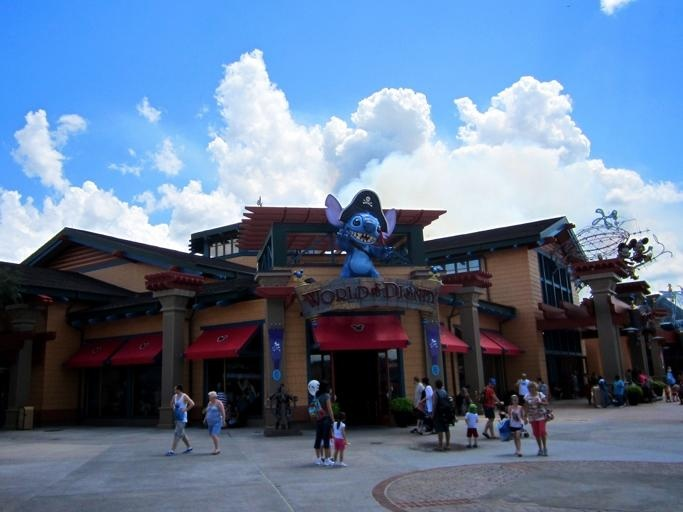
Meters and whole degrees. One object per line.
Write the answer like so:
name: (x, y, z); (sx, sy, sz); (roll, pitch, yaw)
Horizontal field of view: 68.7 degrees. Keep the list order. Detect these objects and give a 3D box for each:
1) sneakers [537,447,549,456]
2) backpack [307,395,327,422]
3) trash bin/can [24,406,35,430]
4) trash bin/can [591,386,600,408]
sneakers: (5.063, 4.939, 12.599); (0.128, 0.186, 0.400); (1, -12, 12)
backpack: (-0.617, 3.694, 12.252); (0.383, 0.548, 0.280); (2, -17, -15)
trash bin/can: (-14.652, 7.521, 23.223); (0.397, 0.995, 0.299); (9, -20, -35)
trash bin/can: (13.576, 7.493, 26.615); (0.438, 1.103, 1.173); (-10, -18, 25)
